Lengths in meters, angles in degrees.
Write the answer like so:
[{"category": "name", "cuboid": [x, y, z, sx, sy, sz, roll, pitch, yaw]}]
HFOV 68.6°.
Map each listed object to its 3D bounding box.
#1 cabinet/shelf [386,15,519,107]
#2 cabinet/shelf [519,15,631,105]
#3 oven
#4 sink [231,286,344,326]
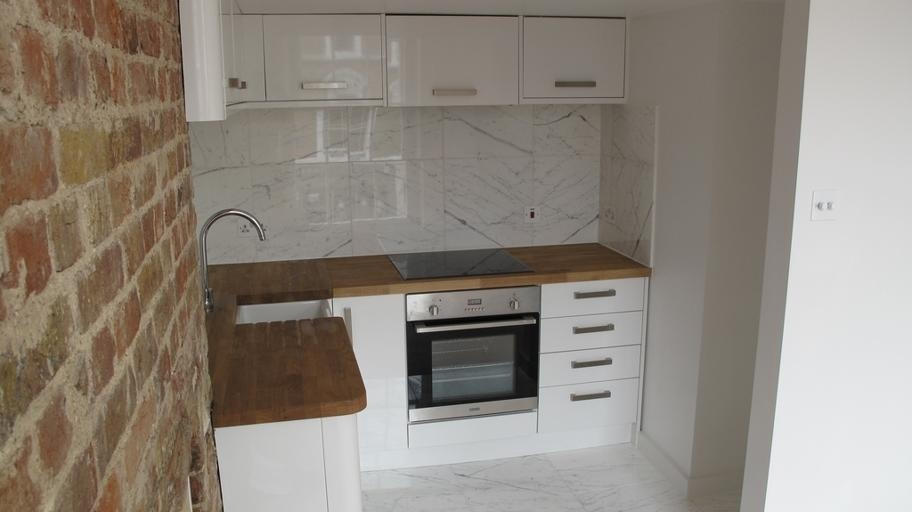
[{"category": "cabinet/shelf", "cuboid": [-0.033, -1.028, 3.817, 0.907, 0.516, 0.479, -1, 22, -4]}, {"category": "cabinet/shelf", "cuboid": [0.627, -1.125, 3.942, 0.846, 0.550, 0.456, -1, 19, -2]}, {"category": "oven", "cuboid": [0.010, 0.549, 3.885, 0.824, 0.713, 0.554, -1, -1, -26]}, {"category": "sink", "cuboid": [-0.896, 0.242, 3.441, 0.385, 0.182, 0.246, 0, 0, -19]}]
